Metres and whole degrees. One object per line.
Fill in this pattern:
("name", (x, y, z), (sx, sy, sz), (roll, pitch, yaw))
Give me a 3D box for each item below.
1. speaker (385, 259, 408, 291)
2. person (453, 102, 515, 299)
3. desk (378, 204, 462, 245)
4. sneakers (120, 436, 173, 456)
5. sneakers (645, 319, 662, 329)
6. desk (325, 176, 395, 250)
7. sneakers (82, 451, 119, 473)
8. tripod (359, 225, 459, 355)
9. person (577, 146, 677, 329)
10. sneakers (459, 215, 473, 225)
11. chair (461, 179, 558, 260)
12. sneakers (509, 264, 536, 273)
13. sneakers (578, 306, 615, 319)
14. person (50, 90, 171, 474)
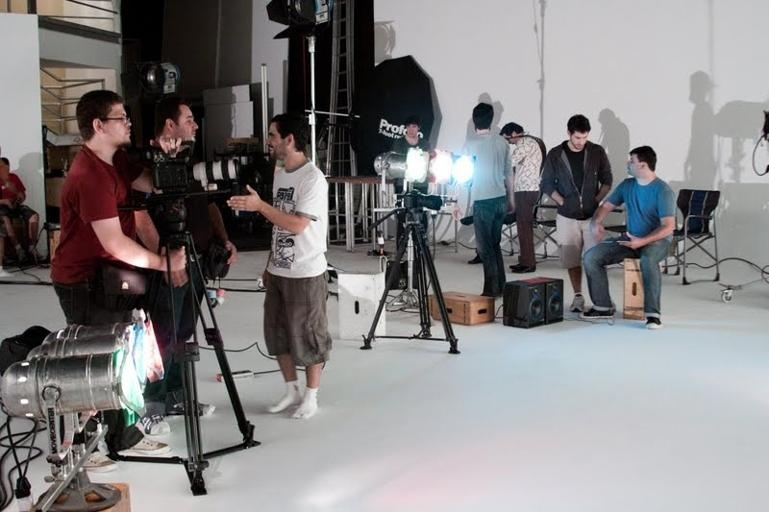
("speaker", (0.166, 0.214, 6.354), (0.310, 0.439, 0.229), (0, 2, -12))
("person", (1.261, -0.675, 7.134), (0.553, 2.293, 0.691), (-1, 5, 12))
("desk", (0.980, -0.577, 11.148), (1.121, 0.771, 0.832), (0, 1, 20))
("sneakers", (-1.522, 1.209, 3.814), (0.281, 0.129, 0.125), (0, 2, -4))
("sneakers", (2.712, 0.655, 5.955), (0.197, 0.107, 0.099), (-5, 6, -17))
("desk", (-0.551, -0.856, 11.343), (1.340, 1.822, 1.351), (1, 3, 26))
("sneakers", (-1.734, 1.262, 3.623), (0.202, 0.094, 0.107), (1, 3, 15))
("tripod", (0.228, 0.219, 5.541), (0.879, 1.276, 0.595), (-2, 5, 6))
("person", (2.571, -0.240, 6.261), (0.853, 1.821, 0.729), (0, 6, 27))
("sneakers", (1.345, -0.583, 9.631), (0.255, 0.138, 0.258), (-7, 8, -26))
("chair", (2.107, -0.590, 9.667), (1.221, 1.731, 1.188), (0, 1, -37))
("sneakers", (2.014, 0.182, 8.654), (0.248, 0.107, 0.156), (5, 3, -5))
("sneakers", (2.264, 0.581, 6.341), (0.337, 0.144, 0.138), (2, 3, 7))
("person", (-1.601, 0.142, 3.565), (0.743, 2.299, 0.619), (-4, 5, -17))
